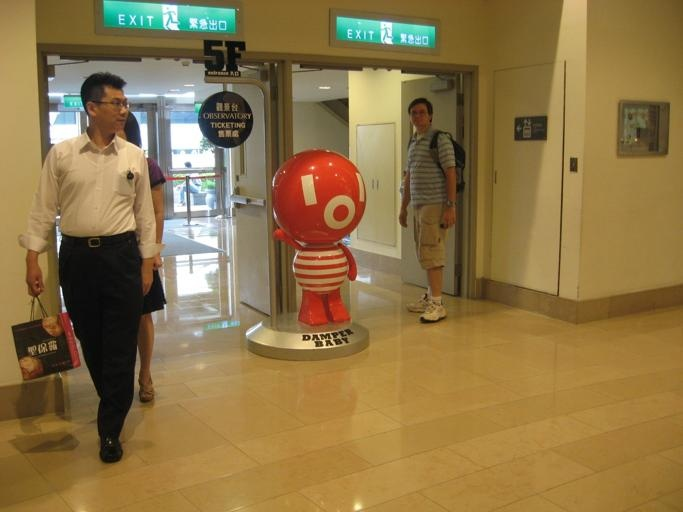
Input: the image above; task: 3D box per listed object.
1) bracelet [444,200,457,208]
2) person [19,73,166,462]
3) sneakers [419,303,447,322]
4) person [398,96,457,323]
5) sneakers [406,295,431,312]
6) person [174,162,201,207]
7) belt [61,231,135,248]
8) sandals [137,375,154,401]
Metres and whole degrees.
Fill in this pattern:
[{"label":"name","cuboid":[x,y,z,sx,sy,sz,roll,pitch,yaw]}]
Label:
[{"label":"bracelet","cuboid":[1.141,-0.552,5.422,0.086,0.047,0.125,4,-1,-10]},{"label":"person","cuboid":[-1.467,0.063,3.060,0.709,2.244,0.508,-4,10,-17]},{"label":"sneakers","cuboid":[0.989,0.603,5.566,0.145,0.151,0.320,-1,1,39]},{"label":"person","cuboid":[0.964,-0.508,5.623,0.543,2.341,0.748,-2,10,-5]},{"label":"sneakers","cuboid":[0.867,0.545,5.944,0.292,0.150,0.133,3,7,44]},{"label":"person","cuboid":[-4.592,-2.185,15.457,0.302,1.297,0.652,7,13,39]},{"label":"belt","cuboid":[-1.426,-0.097,2.994,0.413,0.075,0.126,-2,11,-7]},{"label":"sandals","cuboid":[-1.437,0.984,3.810,0.069,0.144,0.207,1,9,1]}]
